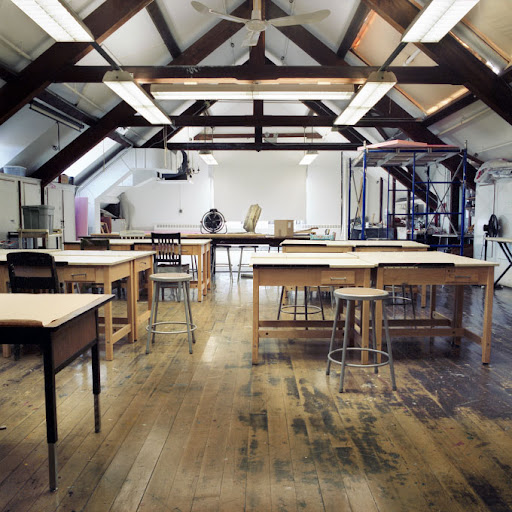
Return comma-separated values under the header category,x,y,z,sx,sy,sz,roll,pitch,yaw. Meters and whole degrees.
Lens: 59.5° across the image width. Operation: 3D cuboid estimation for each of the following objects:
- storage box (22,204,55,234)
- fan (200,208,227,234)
category,x,y,z,sx,sy,sz,roll,pitch,yaw
storage box,-3.530,-0.616,7.390,0.550,0.461,0.453,1,3,-9
fan,-0.961,-0.791,10.054,0.474,0.561,0.510,-2,3,-12
